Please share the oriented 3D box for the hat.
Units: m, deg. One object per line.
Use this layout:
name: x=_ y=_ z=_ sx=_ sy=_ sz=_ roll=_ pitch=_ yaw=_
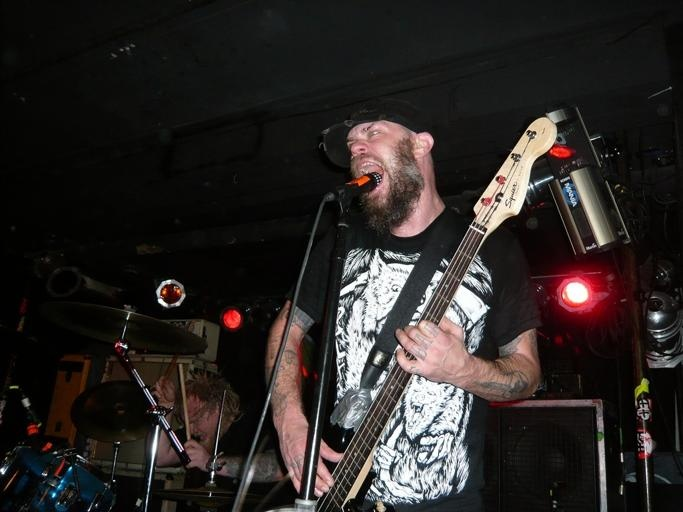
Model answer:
hat: x=0.217 y=-0.809 z=3.592 sx=0.593 sy=0.335 sz=0.457 roll=4 pitch=-21 yaw=-9
